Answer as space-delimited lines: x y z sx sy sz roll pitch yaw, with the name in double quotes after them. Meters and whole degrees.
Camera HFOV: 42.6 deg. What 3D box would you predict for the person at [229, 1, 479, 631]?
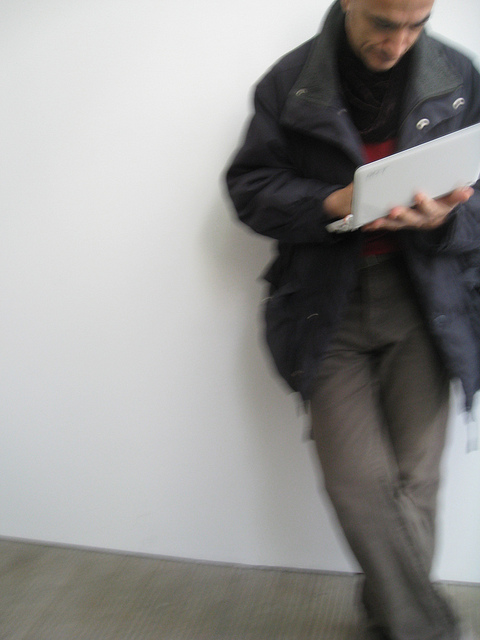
0.280 0.040 1.385 0.538 1.386 0.539 -4 26 18 "person"
